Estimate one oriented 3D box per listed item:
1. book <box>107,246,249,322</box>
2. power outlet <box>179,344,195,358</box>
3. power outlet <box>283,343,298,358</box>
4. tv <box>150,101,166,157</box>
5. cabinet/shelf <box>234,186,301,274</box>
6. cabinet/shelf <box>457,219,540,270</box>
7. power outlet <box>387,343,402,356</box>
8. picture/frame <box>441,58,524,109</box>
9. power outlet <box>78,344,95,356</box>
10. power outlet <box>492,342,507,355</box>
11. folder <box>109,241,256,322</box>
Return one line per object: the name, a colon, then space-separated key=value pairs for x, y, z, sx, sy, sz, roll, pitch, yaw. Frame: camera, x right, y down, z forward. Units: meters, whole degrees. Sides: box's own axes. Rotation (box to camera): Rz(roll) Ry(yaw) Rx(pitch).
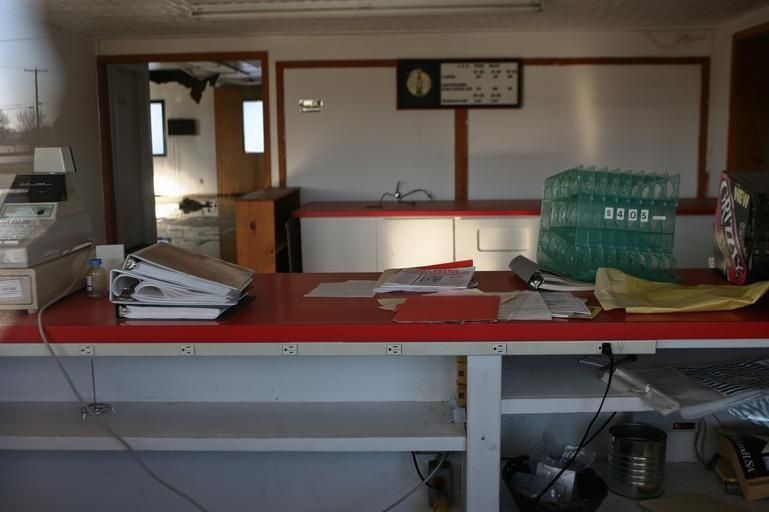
book: x=-0.820 y=0.121 z=2.523 sx=0.376 sy=0.157 sz=0.381 roll=1 pitch=5 yaw=-5
power outlet: x=-0.748 y=0.356 z=2.408 sx=0.055 sy=0.039 sz=0.006 roll=-1 pitch=12 yaw=-3
power outlet: x=-0.357 y=0.357 z=2.410 sx=0.074 sy=0.049 sz=0.040 roll=1 pitch=8 yaw=2
tv: x=-3.241 y=-1.817 z=9.122 sx=0.215 sy=0.786 sz=0.149 roll=-5 pitch=13 yaw=-20
cabinet/shelf: x=-0.943 y=-0.191 z=5.182 sx=0.229 sy=0.569 sz=0.702 roll=-1 pitch=13 yaw=0
cabinet/shelf: x=0.993 y=-0.124 z=5.579 sx=0.696 sy=0.633 sz=0.484 roll=1 pitch=23 yaw=10
power outlet: x=0.034 y=0.356 z=2.412 sx=0.060 sy=0.044 sz=0.016 roll=0 pitch=12 yaw=3
picture/frame: x=0.924 y=-1.646 z=6.118 sx=0.772 sy=0.429 sz=0.057 roll=0 pitch=12 yaw=4
power outlet: x=-1.130 y=0.360 z=2.421 sx=0.058 sy=0.048 sz=0.021 roll=2 pitch=12 yaw=11
power outlet: x=0.432 y=0.352 z=2.399 sx=0.046 sy=0.033 sz=0.044 roll=0 pitch=0 yaw=3
folder: x=-0.814 y=0.116 z=2.525 sx=0.374 sy=0.160 sz=0.388 roll=1 pitch=5 yaw=-5
